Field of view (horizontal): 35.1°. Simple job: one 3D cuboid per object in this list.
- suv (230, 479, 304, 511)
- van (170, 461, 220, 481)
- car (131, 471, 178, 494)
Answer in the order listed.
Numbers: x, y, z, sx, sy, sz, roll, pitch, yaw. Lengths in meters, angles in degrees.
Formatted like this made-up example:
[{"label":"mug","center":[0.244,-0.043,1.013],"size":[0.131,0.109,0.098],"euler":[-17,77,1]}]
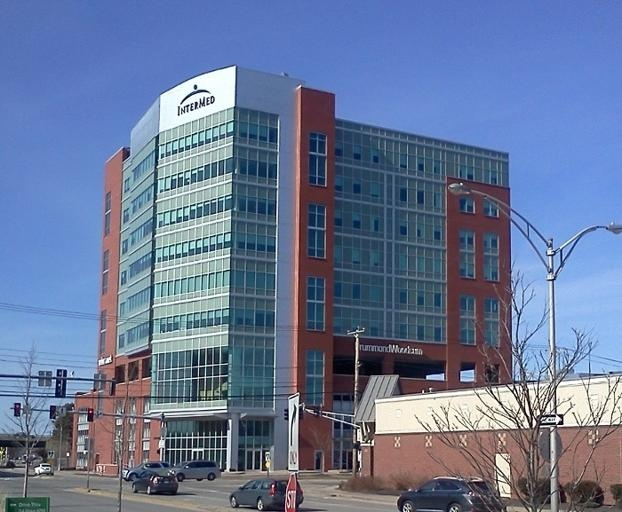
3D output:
[{"label":"suv","center":[-2.949,13.347,54.721],"size":[3.251,1.884,1.653],"euler":[-14,-22,32]},{"label":"van","center":[-9.856,18.626,84.876],"size":[3.227,1.235,1.647],"euler":[16,-23,-38]},{"label":"car","center":[-10.430,15.362,66.111],"size":[2.096,1.796,3.210],"euler":[11,-23,-32]}]
